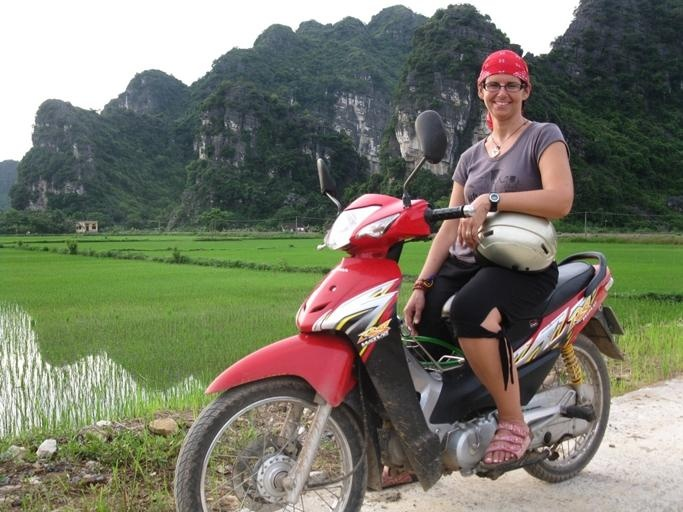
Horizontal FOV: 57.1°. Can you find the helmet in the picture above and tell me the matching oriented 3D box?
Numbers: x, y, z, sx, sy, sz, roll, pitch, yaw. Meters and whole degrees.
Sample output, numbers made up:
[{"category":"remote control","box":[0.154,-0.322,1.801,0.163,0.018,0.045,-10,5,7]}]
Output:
[{"category":"helmet","box":[1.030,-0.072,3.784,0.411,0.278,0.313,13,9,-3]}]

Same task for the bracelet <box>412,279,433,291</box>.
[{"category":"bracelet","box":[0.524,0.175,4.063,0.089,0.046,0.078,-17,6,-11]}]

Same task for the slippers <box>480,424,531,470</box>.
[{"category":"slippers","box":[1.000,1.120,3.759,0.199,0.188,0.431,-19,-8,37]}]

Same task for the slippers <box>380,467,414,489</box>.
[{"category":"slippers","box":[0.331,1.330,3.759,0.186,0.132,0.112,3,-14,-7]}]

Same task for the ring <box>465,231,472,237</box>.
[{"category":"ring","box":[0.731,-0.127,3.617,0.018,0.024,0.034,-23,-27,39]}]

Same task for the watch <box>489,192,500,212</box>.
[{"category":"watch","box":[0.884,-0.312,3.635,0.058,0.100,0.091,5,-26,2]}]
